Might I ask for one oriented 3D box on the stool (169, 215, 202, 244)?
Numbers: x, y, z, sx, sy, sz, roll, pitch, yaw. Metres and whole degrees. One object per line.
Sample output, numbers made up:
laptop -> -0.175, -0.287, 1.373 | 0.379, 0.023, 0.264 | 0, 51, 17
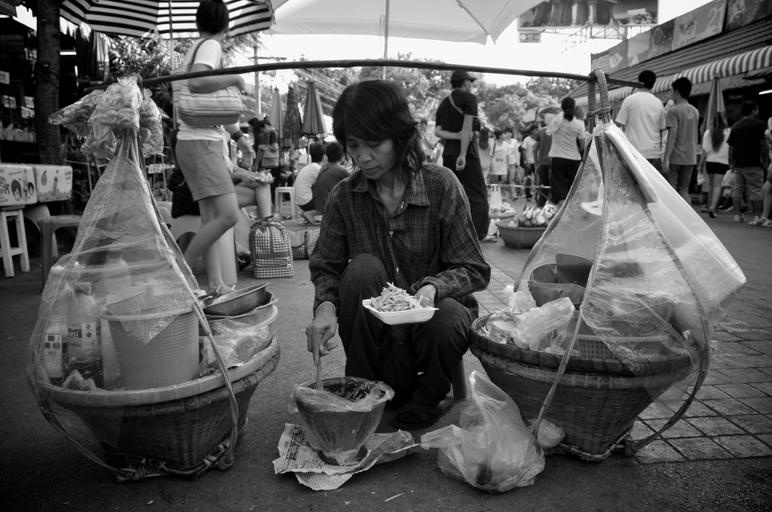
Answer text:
stool -> -2.070, -0.268, 5.401 | 0.355, 0.276, 0.282 | 0, 3, -1

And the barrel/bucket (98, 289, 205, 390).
barrel/bucket -> -1.023, 0.347, 2.223 | 0.393, 0.326, 0.408 | -1, 1, 0

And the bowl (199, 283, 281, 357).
bowl -> -0.714, 0.334, 2.526 | 0.310, 0.141, 0.348 | -17, 7, -1

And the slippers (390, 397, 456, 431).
slippers -> 0.201, 0.821, 2.717 | 0.313, 0.135, 0.135 | -2, 1, -19

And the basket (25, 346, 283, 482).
basket -> -1.000, 0.730, 2.231 | 0.734, 0.305, 0.700 | -10, -1, 9

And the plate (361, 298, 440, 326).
plate -> 0.063, 0.303, 2.457 | 0.353, 0.167, 0.234 | -1, 14, -3

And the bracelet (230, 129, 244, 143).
bracelet -> -1.356, -1.092, 4.674 | 0.109, 0.087, 0.111 | 16, 26, 33

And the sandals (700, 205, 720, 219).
sandals -> 6.408, -0.871, 10.060 | 0.227, 0.258, 0.646 | -1, 11, 12

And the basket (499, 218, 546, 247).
basket -> 1.874, -0.289, 7.245 | 0.484, 0.232, 0.504 | 0, 1, -20

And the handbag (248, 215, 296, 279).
handbag -> -1.268, -0.066, 5.609 | 0.433, 0.639, 0.294 | -5, 15, -17

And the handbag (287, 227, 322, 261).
handbag -> -1.092, -0.170, 6.733 | 0.695, 0.512, 0.501 | 0, -1, -7

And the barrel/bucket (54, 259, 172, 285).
barrel/bucket -> -1.263, 0.078, 2.299 | 0.304, 0.086, 0.215 | -2, 21, -14
